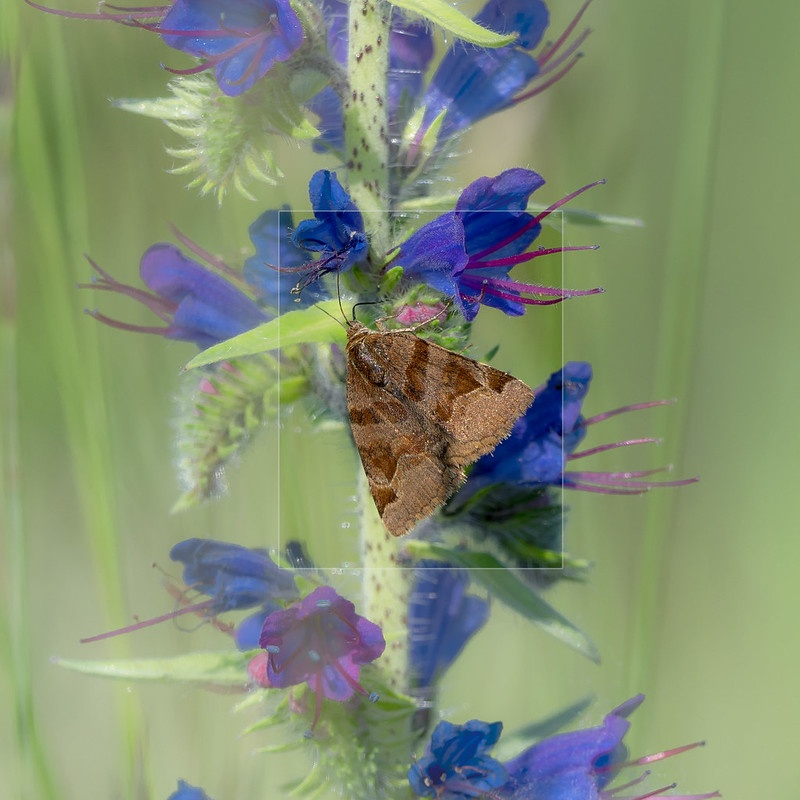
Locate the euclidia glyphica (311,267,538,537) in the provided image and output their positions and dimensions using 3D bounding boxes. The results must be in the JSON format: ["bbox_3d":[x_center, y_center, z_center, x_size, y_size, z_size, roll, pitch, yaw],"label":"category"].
[{"bbox_3d":[0.019,-0.008,1.724,0.388,0.403,0.112,-47,-11,30],"label":"euclidia glyphica"}]

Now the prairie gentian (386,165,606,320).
[{"bbox_3d":[0.174,-0.242,1.641,0.312,0.098,0.217,0,-61,-35],"label":"prairie gentian"}]
